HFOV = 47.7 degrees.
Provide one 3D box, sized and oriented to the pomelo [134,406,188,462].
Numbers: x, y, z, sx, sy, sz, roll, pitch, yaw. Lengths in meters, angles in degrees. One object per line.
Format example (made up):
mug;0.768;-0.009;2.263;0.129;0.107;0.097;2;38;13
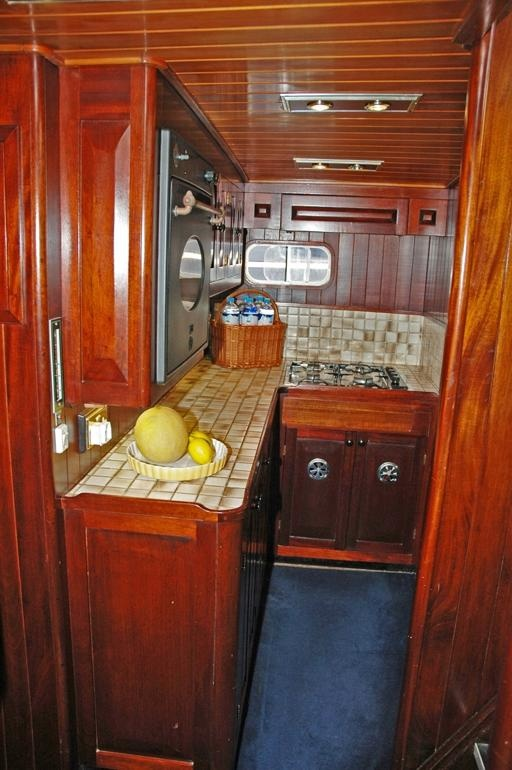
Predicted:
pomelo;-0.275;0.147;1.718;0.159;0.199;0.155;-5;15;-33

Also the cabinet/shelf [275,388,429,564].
cabinet/shelf;0.530;0.472;3.361;0.796;0.957;0.714;4;13;6

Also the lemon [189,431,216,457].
lemon;-0.156;0.169;1.724;0.048;0.083;0.046;-30;-32;4

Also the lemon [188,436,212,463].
lemon;-0.160;0.190;1.692;0.060;0.078;0.058;-29;-12;-14

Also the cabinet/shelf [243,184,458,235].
cabinet/shelf;0.550;-1.109;3.618;1.221;0.282;0.158;5;12;6

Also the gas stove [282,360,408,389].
gas stove;0.511;-0.072;3.355;0.644;0.020;0.862;4;12;3
